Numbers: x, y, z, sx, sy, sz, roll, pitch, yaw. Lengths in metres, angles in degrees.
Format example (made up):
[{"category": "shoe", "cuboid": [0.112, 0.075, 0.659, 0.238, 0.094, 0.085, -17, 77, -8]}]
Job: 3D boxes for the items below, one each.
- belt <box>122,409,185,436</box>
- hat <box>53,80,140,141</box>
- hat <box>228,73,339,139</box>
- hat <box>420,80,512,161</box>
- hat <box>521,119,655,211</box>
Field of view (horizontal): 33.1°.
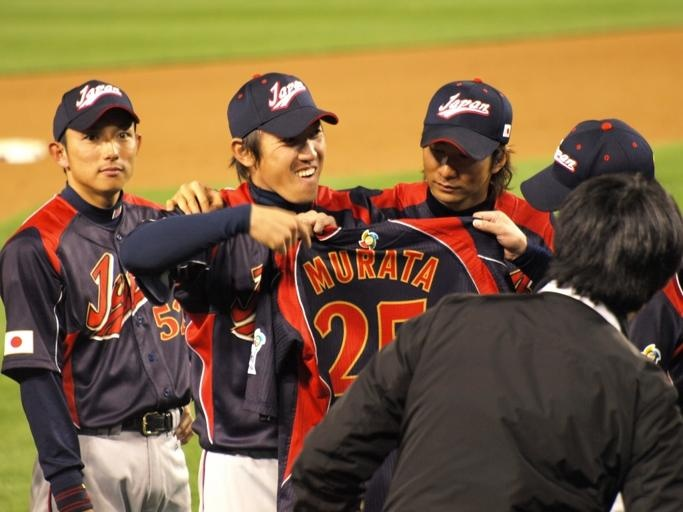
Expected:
[{"category": "belt", "cuboid": [-1.090, 0.961, 6.637, 0.221, 0.065, 0.165, -10, -5, 6]}, {"category": "hat", "cuboid": [-1.435, -0.882, 6.689, 0.343, 0.257, 0.452, -7, -15, -30]}, {"category": "hat", "cuboid": [-0.326, -0.814, 6.231, 0.511, 0.296, 0.351, -8, 9, 42]}, {"category": "hat", "cuboid": [0.729, -0.829, 6.517, 0.503, 0.383, 0.667, 12, 20, 3]}, {"category": "hat", "cuboid": [1.327, -0.545, 6.185, 0.685, 0.438, 0.371, -5, -46, 3]}]
